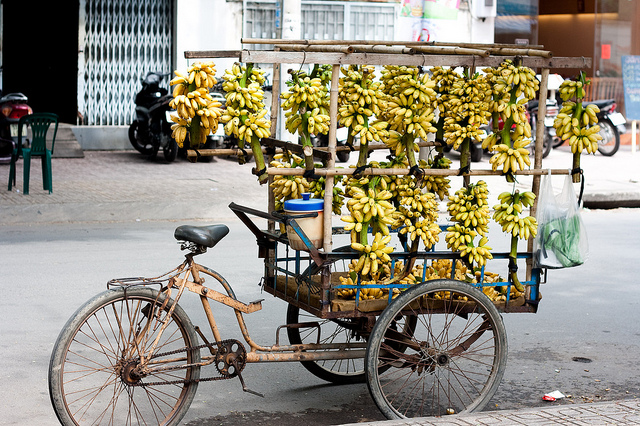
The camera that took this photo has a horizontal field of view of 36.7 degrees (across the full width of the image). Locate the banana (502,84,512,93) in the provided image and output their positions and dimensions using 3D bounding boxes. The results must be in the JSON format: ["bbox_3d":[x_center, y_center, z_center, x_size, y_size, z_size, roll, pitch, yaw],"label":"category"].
[{"bbox_3d":[1.586,-1.064,8.244,0.073,0.071,0.047,7,11,33],"label":"banana"}]

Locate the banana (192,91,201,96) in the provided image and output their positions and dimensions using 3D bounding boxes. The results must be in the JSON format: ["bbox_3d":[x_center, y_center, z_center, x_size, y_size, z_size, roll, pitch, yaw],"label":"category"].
[{"bbox_3d":[-1.016,-1.001,8.077,0.069,0.036,0.027,-3,10,-26],"label":"banana"}]

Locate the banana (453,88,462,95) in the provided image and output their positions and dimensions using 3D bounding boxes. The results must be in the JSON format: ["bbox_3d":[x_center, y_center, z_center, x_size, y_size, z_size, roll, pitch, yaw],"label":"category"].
[{"bbox_3d":[1.180,-1.054,8.349,0.074,0.056,0.038,9,12,42],"label":"banana"}]

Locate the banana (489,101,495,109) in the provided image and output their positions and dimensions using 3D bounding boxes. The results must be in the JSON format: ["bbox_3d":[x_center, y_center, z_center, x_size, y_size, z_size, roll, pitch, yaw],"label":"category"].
[{"bbox_3d":[1.473,-0.932,8.310,0.029,0.055,0.019,35,6,41],"label":"banana"}]

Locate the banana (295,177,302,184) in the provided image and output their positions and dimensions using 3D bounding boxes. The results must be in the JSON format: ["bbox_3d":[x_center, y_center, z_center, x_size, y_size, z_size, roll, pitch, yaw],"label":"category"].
[{"bbox_3d":[-0.186,-0.280,8.495,0.029,0.061,0.032,-52,2,-35],"label":"banana"}]

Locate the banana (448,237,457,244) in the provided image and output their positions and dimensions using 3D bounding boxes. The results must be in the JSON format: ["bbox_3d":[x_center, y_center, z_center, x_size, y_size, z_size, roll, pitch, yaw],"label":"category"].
[{"bbox_3d":[1.125,0.236,8.224,0.057,0.063,0.026,2,9,8],"label":"banana"}]

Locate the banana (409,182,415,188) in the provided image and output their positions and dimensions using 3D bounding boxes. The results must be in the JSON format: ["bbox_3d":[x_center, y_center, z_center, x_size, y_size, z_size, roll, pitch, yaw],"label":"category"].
[{"bbox_3d":[0.772,-0.239,8.230,0.041,0.022,0.040,3,47,10],"label":"banana"}]

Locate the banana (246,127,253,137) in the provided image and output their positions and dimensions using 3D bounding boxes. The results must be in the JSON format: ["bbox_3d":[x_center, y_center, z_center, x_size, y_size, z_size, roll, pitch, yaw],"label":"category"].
[{"bbox_3d":[-0.595,-0.687,8.172,0.054,0.077,0.025,0,0,-7],"label":"banana"}]

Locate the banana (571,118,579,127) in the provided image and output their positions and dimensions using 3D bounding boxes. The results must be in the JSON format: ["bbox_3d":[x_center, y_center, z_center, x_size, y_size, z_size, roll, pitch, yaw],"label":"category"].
[{"bbox_3d":[2.184,-0.783,8.328,0.063,0.075,0.021,1,1,6],"label":"banana"}]

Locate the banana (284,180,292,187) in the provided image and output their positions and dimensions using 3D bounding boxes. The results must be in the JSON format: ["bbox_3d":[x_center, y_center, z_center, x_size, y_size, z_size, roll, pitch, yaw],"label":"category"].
[{"bbox_3d":[-0.270,-0.259,8.450,0.062,0.056,0.026,2,9,5],"label":"banana"}]

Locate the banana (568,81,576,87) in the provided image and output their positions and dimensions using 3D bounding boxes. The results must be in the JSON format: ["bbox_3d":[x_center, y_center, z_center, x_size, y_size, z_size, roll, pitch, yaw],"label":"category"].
[{"bbox_3d":[2.175,-1.116,8.367,0.074,0.044,0.034,10,12,44],"label":"banana"}]

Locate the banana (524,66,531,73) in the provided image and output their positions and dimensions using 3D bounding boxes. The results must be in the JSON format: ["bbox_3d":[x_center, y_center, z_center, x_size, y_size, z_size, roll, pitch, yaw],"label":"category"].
[{"bbox_3d":[1.742,-1.218,8.177,0.056,0.053,0.072,0,9,-7],"label":"banana"}]

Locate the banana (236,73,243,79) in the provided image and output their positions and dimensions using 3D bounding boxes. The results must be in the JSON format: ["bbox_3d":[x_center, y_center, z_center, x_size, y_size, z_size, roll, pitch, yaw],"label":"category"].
[{"bbox_3d":[-0.698,-1.218,8.519,0.060,0.032,0.059,9,39,15],"label":"banana"}]

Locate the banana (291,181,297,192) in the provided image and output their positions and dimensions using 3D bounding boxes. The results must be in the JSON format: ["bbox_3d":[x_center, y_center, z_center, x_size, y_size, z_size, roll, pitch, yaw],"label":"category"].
[{"bbox_3d":[-0.212,-0.233,8.416,0.046,0.079,0.027,2,-5,-3],"label":"banana"}]

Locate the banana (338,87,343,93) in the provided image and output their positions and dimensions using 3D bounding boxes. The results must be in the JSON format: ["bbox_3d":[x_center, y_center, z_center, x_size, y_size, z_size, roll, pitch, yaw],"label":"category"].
[{"bbox_3d":[0.183,-1.091,8.555,0.034,0.045,0.070,1,9,-4],"label":"banana"}]

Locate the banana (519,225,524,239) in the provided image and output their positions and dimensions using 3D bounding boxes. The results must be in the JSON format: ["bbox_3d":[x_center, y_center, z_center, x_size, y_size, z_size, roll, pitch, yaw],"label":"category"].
[{"bbox_3d":[1.696,0.163,8.161,0.030,0.108,0.037,2,-5,12],"label":"banana"}]

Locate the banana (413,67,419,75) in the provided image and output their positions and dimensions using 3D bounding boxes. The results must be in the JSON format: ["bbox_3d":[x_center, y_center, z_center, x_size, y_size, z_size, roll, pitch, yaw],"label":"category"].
[{"bbox_3d":[0.814,-1.212,8.227,0.048,0.058,0.025,1,9,0],"label":"banana"}]

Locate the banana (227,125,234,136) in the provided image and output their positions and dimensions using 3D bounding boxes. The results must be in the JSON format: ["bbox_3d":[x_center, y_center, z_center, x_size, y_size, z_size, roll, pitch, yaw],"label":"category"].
[{"bbox_3d":[-0.755,-0.705,8.248,0.021,0.086,0.024,23,11,-25],"label":"banana"}]

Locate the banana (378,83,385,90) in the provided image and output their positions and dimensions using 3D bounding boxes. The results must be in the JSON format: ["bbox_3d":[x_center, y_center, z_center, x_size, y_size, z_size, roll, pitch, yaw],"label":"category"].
[{"bbox_3d":[0.534,-1.100,8.376,0.035,0.054,0.126,4,9,17],"label":"banana"}]

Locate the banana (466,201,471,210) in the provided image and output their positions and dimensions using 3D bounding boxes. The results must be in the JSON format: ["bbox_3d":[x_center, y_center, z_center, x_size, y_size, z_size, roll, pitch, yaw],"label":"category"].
[{"bbox_3d":[1.260,-0.060,8.246,0.041,0.052,0.032,21,17,20],"label":"banana"}]

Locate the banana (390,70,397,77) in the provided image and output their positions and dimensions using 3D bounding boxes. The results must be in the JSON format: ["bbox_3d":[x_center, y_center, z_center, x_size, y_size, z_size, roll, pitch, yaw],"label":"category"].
[{"bbox_3d":[0.636,-1.210,8.356,0.067,0.059,0.026,7,11,33],"label":"banana"}]

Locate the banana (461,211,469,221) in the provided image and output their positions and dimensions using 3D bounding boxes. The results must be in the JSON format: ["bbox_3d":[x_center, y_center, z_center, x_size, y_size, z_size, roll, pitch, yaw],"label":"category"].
[{"bbox_3d":[1.230,0.028,8.226,0.039,0.080,0.027,43,-13,-12],"label":"banana"}]

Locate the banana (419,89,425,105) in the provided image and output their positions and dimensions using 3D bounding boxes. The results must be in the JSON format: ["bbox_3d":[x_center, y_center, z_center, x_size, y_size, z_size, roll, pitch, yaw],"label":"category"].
[{"bbox_3d":[0.860,-0.981,8.173,0.031,0.107,0.035,-15,-15,8],"label":"banana"}]

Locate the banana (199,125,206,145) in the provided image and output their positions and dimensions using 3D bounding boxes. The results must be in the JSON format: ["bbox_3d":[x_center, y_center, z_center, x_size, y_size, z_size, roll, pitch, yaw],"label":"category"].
[{"bbox_3d":[-0.983,-0.667,8.253,0.035,0.158,0.056,-3,10,5],"label":"banana"}]

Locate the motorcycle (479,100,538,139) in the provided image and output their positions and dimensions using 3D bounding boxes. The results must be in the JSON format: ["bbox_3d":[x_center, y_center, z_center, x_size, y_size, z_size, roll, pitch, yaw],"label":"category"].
[{"bbox_3d":[2.050,-0.958,10.466,0.413,0.570,0.818,-2,3,-6],"label":"motorcycle"}]

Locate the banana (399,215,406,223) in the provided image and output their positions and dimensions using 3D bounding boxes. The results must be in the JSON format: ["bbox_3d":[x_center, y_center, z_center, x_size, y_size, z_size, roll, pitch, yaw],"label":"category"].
[{"bbox_3d":[0.694,0.045,8.177,0.022,0.036,0.065,16,1,-25],"label":"banana"}]

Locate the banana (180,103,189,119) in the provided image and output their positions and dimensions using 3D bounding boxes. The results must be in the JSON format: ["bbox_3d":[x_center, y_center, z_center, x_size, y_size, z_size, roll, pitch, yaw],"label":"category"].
[{"bbox_3d":[-1.127,-0.853,8.081,0.042,0.122,0.034,-5,18,-2],"label":"banana"}]

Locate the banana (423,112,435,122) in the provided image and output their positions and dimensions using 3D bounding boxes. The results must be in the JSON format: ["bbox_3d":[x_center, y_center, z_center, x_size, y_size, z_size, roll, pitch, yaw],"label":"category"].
[{"bbox_3d":[0.927,-0.814,8.184,0.036,0.045,0.136,4,32,39],"label":"banana"}]

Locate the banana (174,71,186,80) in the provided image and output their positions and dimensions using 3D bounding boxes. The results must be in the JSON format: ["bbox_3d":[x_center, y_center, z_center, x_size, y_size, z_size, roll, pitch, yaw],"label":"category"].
[{"bbox_3d":[-1.177,-1.176,8.194,0.054,0.044,0.163,-5,-8,9],"label":"banana"}]

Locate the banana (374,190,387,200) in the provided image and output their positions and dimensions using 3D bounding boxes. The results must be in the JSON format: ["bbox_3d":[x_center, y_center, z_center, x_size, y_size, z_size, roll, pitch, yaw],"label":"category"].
[{"bbox_3d":[0.516,-0.151,8.160,0.144,0.038,0.039,-39,8,-15],"label":"banana"}]

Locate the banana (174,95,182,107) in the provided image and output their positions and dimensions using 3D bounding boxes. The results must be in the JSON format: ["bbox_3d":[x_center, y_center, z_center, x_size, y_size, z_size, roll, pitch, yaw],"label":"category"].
[{"bbox_3d":[-1.174,-0.933,8.066,0.063,0.094,0.081,-1,9,-13],"label":"banana"}]

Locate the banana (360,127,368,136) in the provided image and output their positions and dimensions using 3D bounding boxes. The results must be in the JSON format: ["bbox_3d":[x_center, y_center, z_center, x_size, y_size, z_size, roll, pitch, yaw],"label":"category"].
[{"bbox_3d":[0.368,-0.685,8.123,0.033,0.066,0.071,10,12,42],"label":"banana"}]

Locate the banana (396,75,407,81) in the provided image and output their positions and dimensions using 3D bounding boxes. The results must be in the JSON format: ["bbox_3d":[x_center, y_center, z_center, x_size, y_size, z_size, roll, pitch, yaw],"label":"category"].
[{"bbox_3d":[0.688,-1.158,8.262,0.093,0.049,0.036,8,11,38],"label":"banana"}]

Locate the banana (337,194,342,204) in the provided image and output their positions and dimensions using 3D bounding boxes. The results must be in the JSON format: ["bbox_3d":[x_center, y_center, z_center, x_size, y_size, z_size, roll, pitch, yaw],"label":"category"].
[{"bbox_3d":[0.170,-0.121,8.522,0.021,0.083,0.023,-5,-4,2],"label":"banana"}]

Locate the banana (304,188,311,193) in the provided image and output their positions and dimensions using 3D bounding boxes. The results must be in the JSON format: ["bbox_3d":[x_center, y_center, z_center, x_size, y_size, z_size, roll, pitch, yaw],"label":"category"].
[{"bbox_3d":[-0.111,-0.202,8.522,0.052,0.049,0.050,1,0,-3],"label":"banana"}]

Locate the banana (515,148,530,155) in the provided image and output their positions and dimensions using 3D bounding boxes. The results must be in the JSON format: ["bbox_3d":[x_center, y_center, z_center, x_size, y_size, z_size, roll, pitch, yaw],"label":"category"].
[{"bbox_3d":[1.743,-0.528,8.240,0.085,0.058,0.187,7,10,35],"label":"banana"}]

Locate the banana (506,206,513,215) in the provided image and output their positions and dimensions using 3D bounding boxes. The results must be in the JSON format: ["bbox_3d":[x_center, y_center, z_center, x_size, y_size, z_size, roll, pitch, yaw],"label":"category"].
[{"bbox_3d":[1.600,-0.021,8.206,0.039,0.066,0.022,22,-2,10],"label":"banana"}]

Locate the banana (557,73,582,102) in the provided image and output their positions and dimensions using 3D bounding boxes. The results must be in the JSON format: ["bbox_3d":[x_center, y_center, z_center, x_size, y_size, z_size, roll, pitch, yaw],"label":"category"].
[{"bbox_3d":[2.163,-1.118,8.403,0.160,0.093,0.209,15,10,-24],"label":"banana"}]

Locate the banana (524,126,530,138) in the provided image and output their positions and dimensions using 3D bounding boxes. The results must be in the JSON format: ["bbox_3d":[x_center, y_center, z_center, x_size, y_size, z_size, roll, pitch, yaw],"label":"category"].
[{"bbox_3d":[1.774,-0.693,8.328,0.038,0.095,0.212,4,9,15],"label":"banana"}]

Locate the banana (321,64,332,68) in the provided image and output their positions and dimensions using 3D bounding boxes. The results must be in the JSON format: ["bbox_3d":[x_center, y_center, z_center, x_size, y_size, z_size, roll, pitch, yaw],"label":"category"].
[{"bbox_3d":[0.042,-1.364,8.938,0.043,0.034,0.158,-43,-12,24],"label":"banana"}]

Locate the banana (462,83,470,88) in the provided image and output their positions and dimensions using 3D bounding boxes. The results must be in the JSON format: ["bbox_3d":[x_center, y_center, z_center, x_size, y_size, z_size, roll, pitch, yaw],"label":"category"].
[{"bbox_3d":[1.250,-1.104,8.340,0.062,0.038,0.023,6,10,27],"label":"banana"}]

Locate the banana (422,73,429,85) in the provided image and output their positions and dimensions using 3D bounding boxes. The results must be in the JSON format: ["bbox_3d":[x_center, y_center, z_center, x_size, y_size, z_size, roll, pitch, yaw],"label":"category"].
[{"bbox_3d":[0.905,-1.157,8.269,0.032,0.115,0.035,21,-18,13],"label":"banana"}]

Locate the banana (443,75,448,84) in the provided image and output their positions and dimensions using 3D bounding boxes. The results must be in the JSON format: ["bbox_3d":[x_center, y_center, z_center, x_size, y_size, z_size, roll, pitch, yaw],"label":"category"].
[{"bbox_3d":[1.092,-1.172,8.459,0.040,0.065,0.015,2,9,7],"label":"banana"}]

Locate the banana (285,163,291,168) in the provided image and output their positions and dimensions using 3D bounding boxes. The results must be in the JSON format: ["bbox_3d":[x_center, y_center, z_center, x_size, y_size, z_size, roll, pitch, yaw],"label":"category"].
[{"bbox_3d":[-0.272,-0.420,8.583,0.059,0.048,0.049,8,0,6],"label":"banana"}]

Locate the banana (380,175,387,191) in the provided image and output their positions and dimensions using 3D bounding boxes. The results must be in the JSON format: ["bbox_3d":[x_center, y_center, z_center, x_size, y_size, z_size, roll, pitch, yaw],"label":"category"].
[{"bbox_3d":[0.537,-0.252,8.234,0.038,0.113,0.041,-7,9,40],"label":"banana"}]

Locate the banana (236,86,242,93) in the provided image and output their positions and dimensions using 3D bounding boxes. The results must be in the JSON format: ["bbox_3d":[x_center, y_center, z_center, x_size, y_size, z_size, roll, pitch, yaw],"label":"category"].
[{"bbox_3d":[-0.684,-1.054,8.235,0.039,0.038,0.050,-1,-2,-2],"label":"banana"}]

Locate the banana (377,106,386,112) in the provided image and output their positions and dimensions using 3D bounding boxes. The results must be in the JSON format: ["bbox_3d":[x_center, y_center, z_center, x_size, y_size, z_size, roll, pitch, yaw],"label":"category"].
[{"bbox_3d":[0.534,-0.899,8.347,0.072,0.020,0.019,29,-6,-9],"label":"banana"}]
